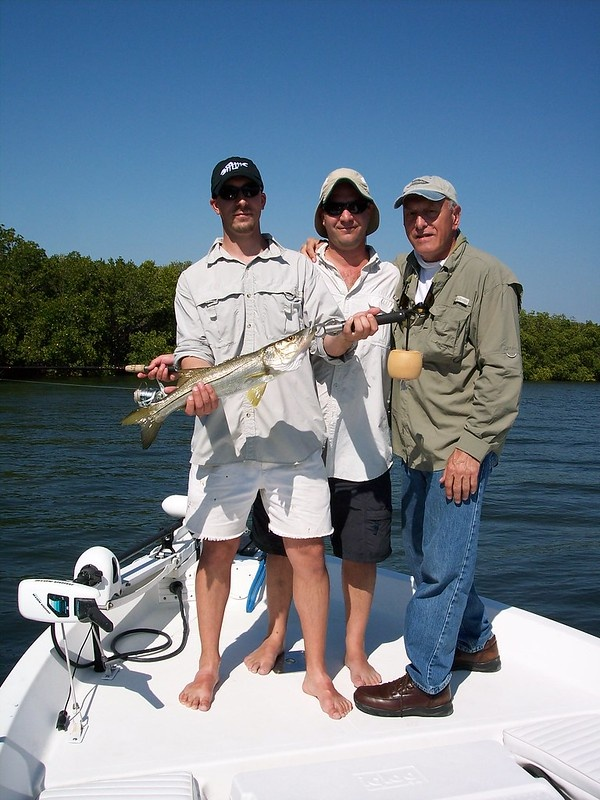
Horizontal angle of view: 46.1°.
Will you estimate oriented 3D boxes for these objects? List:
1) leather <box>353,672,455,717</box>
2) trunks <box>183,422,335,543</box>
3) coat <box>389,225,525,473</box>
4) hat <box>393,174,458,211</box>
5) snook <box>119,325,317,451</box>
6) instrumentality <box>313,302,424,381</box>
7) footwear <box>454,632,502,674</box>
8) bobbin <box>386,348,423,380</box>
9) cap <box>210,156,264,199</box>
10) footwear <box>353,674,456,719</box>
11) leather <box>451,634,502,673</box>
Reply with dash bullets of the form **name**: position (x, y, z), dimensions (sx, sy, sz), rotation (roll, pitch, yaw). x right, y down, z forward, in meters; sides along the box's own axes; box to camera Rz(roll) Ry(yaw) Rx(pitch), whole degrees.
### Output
- **leather**: position (0.455, 1.321, 3.186), dimensions (0.438, 0.172, 0.163), rotation (3, -7, 2)
- **trunks**: position (-0.189, 0.394, 3.381), dimensions (0.688, 0.519, 0.239), rotation (-2, 13, 0)
- **coat**: position (0.668, -0.215, 3.161), dimensions (0.283, 1.080, 0.684), rotation (-1, -2, -40)
- **hat**: position (0.530, -0.926, 3.146), dimensions (0.277, 0.131, 0.186), rotation (-2, -2, 23)
- **snook**: position (-0.311, -0.050, 2.965), dimensions (0.881, 0.292, 0.274), rotation (-22, -20, -1)
- **instrumentality**: position (0.324, -0.243, 3.057), dimensions (0.340, 0.319, 0.395), rotation (7, 16, 33)
- **footwear**: position (0.881, 1.293, 3.582), dimensions (0.314, 0.138, 0.111), rotation (1, -7, 2)
- **bobbin**: position (0.453, -0.161, 3.100), dimensions (0.140, 0.112, 0.133), rotation (3, 8, -12)
- **cap**: position (-0.301, -1.007, 3.162), dimensions (0.234, 0.178, 0.161), rotation (-2, -1, 6)
- **footwear**: position (0.460, 1.318, 3.191), dimensions (0.438, 0.183, 0.163), rotation (3, -10, 2)
- **leather**: position (0.886, 1.289, 3.582), dimensions (0.316, 0.136, 0.113), rotation (1, -7, 4)
